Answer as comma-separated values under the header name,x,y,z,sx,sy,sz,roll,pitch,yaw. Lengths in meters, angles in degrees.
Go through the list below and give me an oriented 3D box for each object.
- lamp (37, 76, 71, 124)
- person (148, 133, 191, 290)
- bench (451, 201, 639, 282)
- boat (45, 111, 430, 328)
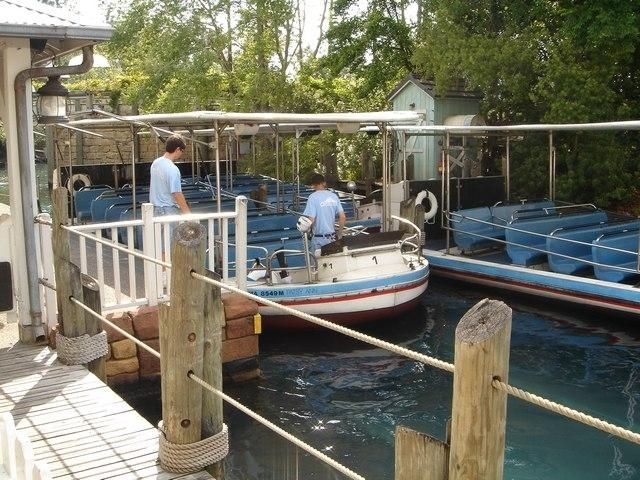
name,x,y,z,sx,sy,sz,roll,pitch,yaw
lamp,-3.135,-1.620,6.829,0.380,0.523,0.525,-6,13,-17
person,-2.269,-0.910,8.728,0.540,1.217,0.739,-6,13,-15
bench,4.886,0.021,12.117,2.852,1.156,3.985,-9,14,-26
boat,-1.351,-0.324,9.810,4.309,3.555,6.244,8,16,39
